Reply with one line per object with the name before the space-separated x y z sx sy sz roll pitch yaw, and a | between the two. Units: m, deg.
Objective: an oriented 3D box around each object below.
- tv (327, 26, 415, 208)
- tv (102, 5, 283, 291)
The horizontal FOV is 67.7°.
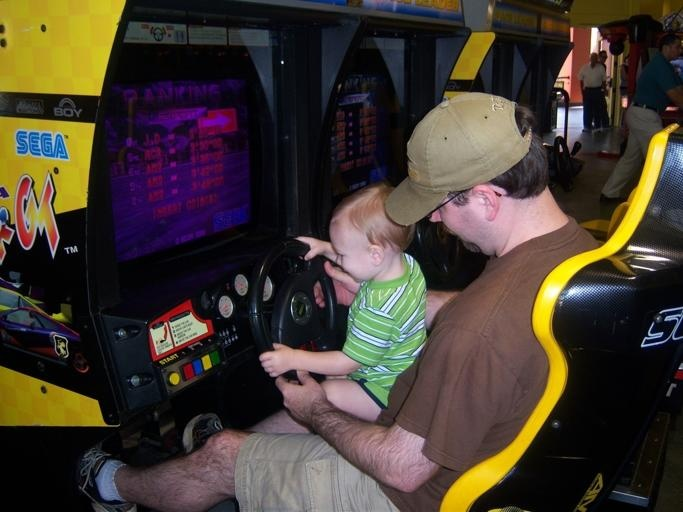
tv | 0.216 -0.719 3.080 0.439 0.903 0.445 0 -14 14
tv | -0.657 -0.446 1.987 0.296 0.884 0.903 17 23 26
